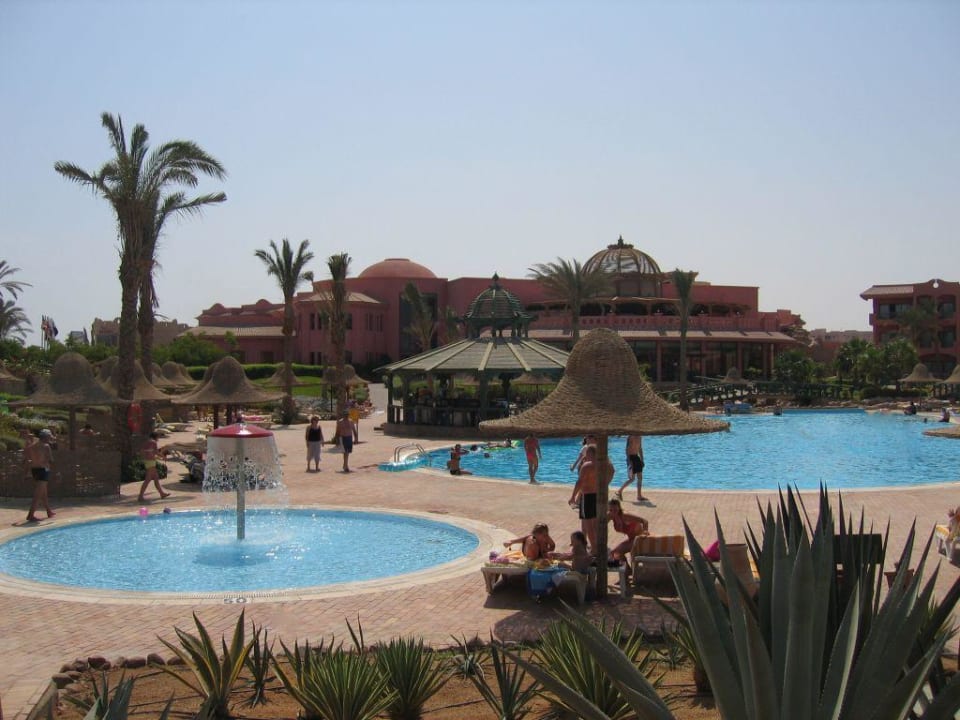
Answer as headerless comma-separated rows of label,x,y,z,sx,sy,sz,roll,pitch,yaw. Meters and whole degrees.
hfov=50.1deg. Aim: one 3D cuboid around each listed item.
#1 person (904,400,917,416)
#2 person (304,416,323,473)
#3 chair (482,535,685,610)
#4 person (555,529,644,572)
person,19.590,2.206,47.204,0.533,0.261,0.776,4,11,28
person,-3.948,1.961,24.650,0.342,1.279,1.809,-1,-2,-9
chair,1.194,2.490,12.731,2.343,0.799,1.348,-1,-2,-1
person,1.456,2.452,12.695,0.749,0.208,0.759,1,0,-7
